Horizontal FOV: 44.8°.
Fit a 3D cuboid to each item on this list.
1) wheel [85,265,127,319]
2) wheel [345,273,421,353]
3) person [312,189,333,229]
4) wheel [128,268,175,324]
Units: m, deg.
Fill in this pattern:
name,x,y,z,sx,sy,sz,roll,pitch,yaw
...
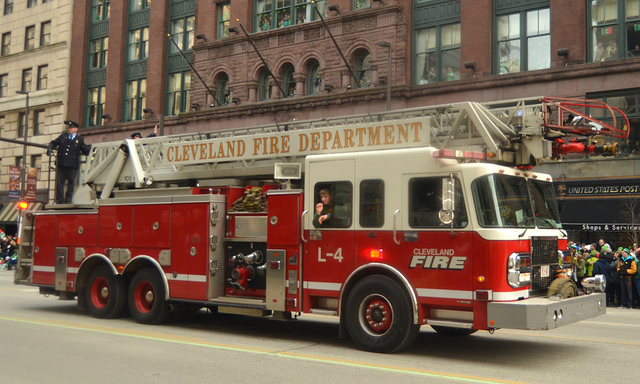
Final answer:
name,x,y,z,sx,sy,sz,roll,pitch,yaw
wheel,-7.301,3.450,26.721,1.893,1.892,0.690,-3,-4,39
wheel,1.904,3.633,23.426,2.571,2.569,1.038,0,0,28
person,0.060,0.536,24.225,0.605,1.191,0.324,2,13,5
wheel,-5.612,3.501,26.033,1.969,1.909,0.694,-2,-3,39
